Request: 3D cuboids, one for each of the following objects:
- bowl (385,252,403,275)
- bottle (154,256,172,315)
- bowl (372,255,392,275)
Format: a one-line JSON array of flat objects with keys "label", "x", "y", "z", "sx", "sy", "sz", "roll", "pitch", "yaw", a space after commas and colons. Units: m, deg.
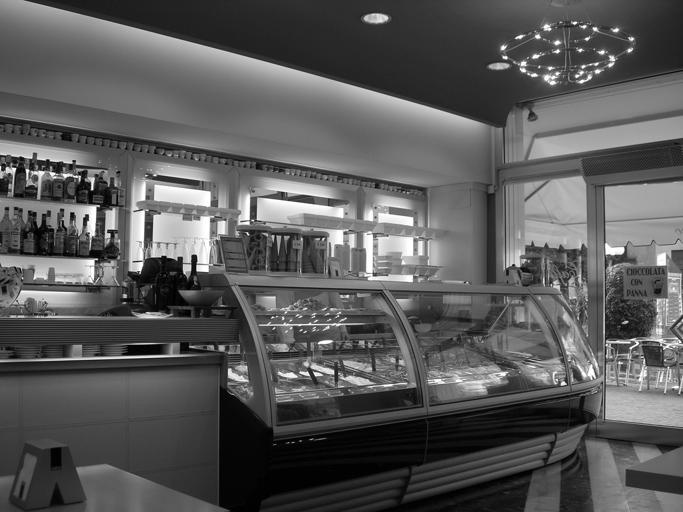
[{"label": "bowl", "x": 0.720, "y": 0.098, "z": 7.274, "sx": 0.243, "sy": 0.279, "sz": 0.277, "roll": 4, "pitch": -9, "yaw": -36}, {"label": "bottle", "x": -1.206, "y": 0.189, "z": 3.668, "sx": 0.091, "sy": 0.374, "sz": 0.134, "roll": 2, "pitch": 0, "yaw": -24}, {"label": "bowl", "x": 0.552, "y": 0.135, "z": 7.296, "sx": 0.256, "sy": 0.228, "sz": 0.297, "roll": -1, "pitch": -5, "yaw": 9}]
